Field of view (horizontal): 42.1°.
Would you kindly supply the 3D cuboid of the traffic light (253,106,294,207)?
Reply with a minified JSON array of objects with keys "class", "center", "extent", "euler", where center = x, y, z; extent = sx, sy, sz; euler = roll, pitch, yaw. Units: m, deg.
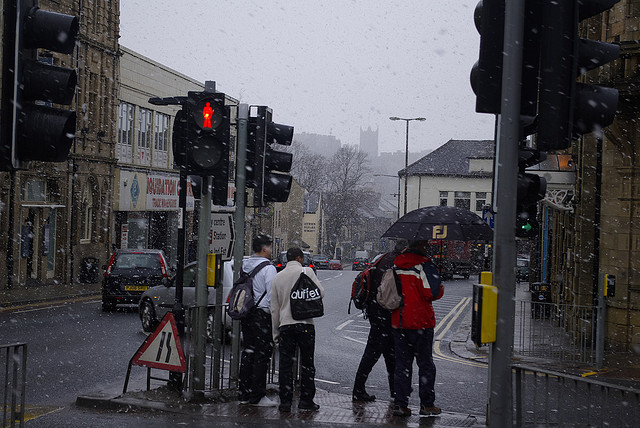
[{"class":"traffic light","center":[-0.757,-0.885,13.573],"extent":[0.590,1.654,0.571],"euler":[7,19,12]}]

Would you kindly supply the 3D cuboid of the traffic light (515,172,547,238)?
[{"class":"traffic light","center":[2.446,-0.084,10.143],"extent":[0.451,0.881,0.390],"euler":[0,3,-10]}]

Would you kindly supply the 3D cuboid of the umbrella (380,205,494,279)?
[{"class":"umbrella","center":[1.905,0.383,13.165],"extent":[1.213,0.846,1.249],"euler":[-1,-5,10]}]

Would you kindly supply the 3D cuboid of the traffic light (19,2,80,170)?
[{"class":"traffic light","center":[-2.823,-1.328,8.649],"extent":[0.564,1.743,0.343],"euler":[2,-2,-18]}]

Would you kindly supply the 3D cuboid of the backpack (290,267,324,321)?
[{"class":"backpack","center":[-0.232,1.186,12.407],"extent":[0.549,0.926,0.456],"euler":[-5,-21,-13]}]

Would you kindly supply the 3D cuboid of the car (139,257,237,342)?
[{"class":"car","center":[-2.739,2.018,19.605],"extent":[3.346,1.838,1.700],"euler":[1,-9,41]}]

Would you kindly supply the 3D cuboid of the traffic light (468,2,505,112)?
[{"class":"traffic light","center":[1.971,-1.907,9.760],"extent":[0.392,1.414,1.276],"euler":[1,-3,11]}]

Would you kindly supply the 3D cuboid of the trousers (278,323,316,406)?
[{"class":"trousers","center":[-0.340,2.213,12.468],"extent":[0.592,1.209,0.344],"euler":[2,-3,-21]}]

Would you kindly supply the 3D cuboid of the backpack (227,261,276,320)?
[{"class":"backpack","center":[-1.053,1.173,12.703],"extent":[0.643,0.932,0.449],"euler":[-4,-14,32]}]

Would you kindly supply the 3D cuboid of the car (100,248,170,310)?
[{"class":"car","center":[-5.459,1.856,25.247],"extent":[2.015,1.884,3.731],"euler":[2,3,-7]}]

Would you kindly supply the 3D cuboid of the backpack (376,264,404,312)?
[{"class":"backpack","center":[1.014,1.160,12.781],"extent":[0.472,0.911,0.676],"euler":[2,-7,0]}]

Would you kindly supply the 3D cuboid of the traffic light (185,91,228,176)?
[{"class":"traffic light","center":[-1.717,-1.187,12.772],"extent":[0.602,1.371,0.424],"euler":[-2,-17,-1]}]

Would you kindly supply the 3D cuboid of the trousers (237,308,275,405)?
[{"class":"trousers","center":[-0.982,2.117,12.608],"extent":[0.604,1.424,0.303],"euler":[-1,-3,34]}]
